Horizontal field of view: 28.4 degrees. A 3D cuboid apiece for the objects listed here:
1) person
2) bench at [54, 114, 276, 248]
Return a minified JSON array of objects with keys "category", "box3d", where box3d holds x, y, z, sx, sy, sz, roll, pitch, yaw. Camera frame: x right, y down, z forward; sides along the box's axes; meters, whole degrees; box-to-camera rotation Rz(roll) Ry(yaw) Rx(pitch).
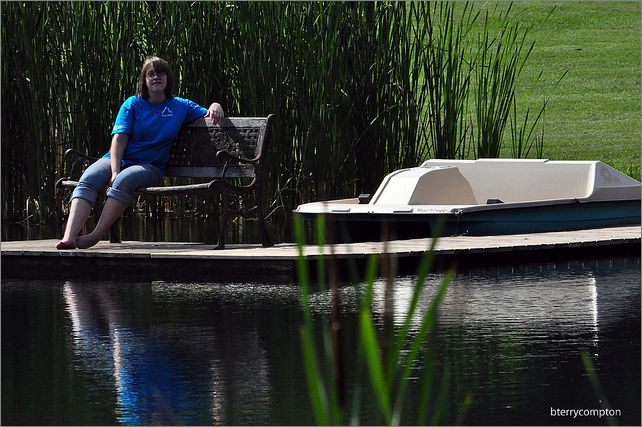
[{"category":"person","box3d":[-1.281,-0.430,8.929,0.617,1.280,1.279,8,12,28]},{"category":"bench","box3d":[-1.201,-0.223,9.452,1.718,0.880,0.692,3,11,41]}]
